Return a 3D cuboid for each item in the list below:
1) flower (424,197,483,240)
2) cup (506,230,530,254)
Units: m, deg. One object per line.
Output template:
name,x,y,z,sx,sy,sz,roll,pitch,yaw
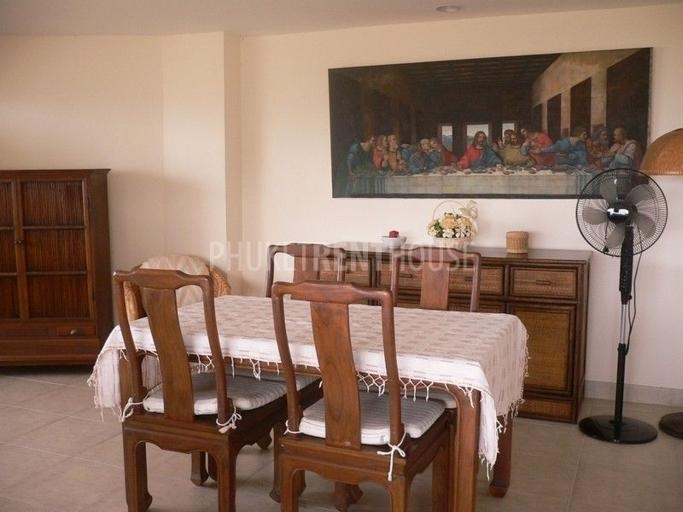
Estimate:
flower,0.961,-0.319,4.782,0.429,0.323,0.493,-1,7,13
cup,1.444,-0.115,4.578,0.173,0.166,0.181,0,3,0
